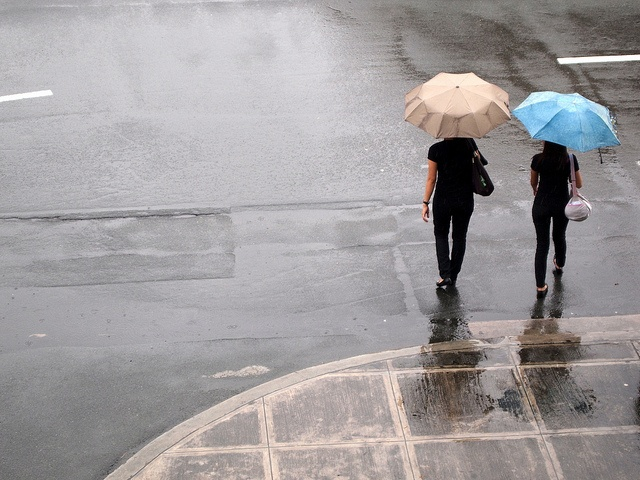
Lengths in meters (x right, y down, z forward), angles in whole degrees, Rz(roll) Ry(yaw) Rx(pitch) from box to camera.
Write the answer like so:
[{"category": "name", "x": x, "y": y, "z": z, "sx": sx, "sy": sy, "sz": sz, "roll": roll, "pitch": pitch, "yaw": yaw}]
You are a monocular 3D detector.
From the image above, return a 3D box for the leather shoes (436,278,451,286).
[{"category": "leather shoes", "x": 1.510, "y": 0.511, "z": 8.005, "sx": 0.100, "sy": 0.078, "sz": 0.184, "roll": -3, "pitch": 10, "yaw": -15}]

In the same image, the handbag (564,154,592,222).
[{"category": "handbag", "x": 2.944, "y": -0.577, "z": 7.465, "sx": 0.272, "sy": 0.820, "sz": 0.322, "roll": 0, "pitch": 27, "yaw": 18}]

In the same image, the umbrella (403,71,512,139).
[{"category": "umbrella", "x": 1.525, "y": -1.514, "z": 7.345, "sx": 1.141, "sy": 0.636, "sz": 0.891, "roll": -1, "pitch": 22, "yaw": 11}]

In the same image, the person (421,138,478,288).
[{"category": "person", "x": 1.552, "y": -0.331, "z": 7.758, "sx": 0.642, "sy": 1.892, "sz": 0.450, "roll": -4, "pitch": 26, "yaw": 10}]

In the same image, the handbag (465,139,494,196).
[{"category": "handbag", "x": 1.845, "y": -0.831, "z": 7.568, "sx": 0.264, "sy": 0.767, "sz": 0.367, "roll": -2, "pitch": 26, "yaw": 13}]

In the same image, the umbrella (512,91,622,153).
[{"category": "umbrella", "x": 2.711, "y": -1.314, "z": 7.199, "sx": 1.049, "sy": 0.508, "sz": 0.728, "roll": 3, "pitch": 24, "yaw": 21}]
